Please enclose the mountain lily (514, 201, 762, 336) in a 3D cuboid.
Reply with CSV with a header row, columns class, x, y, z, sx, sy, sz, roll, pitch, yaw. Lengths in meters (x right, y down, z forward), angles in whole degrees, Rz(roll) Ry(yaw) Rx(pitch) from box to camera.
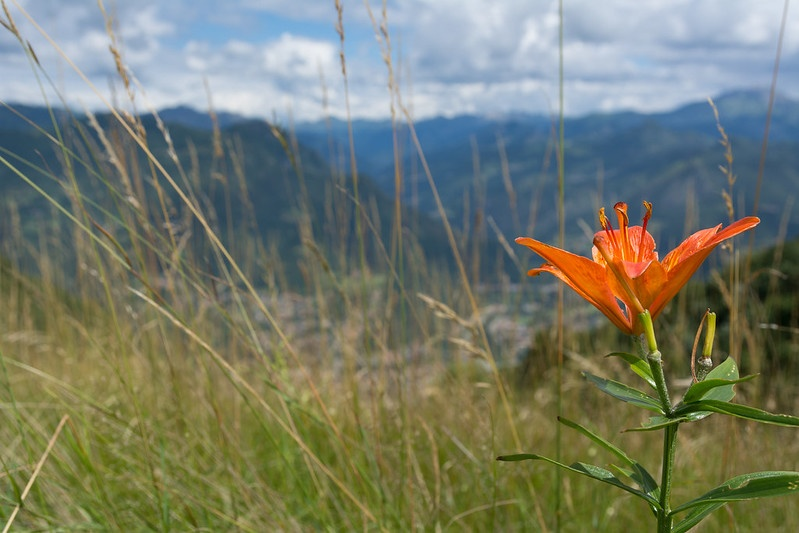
class,x,y,z,sx,sy,sz,roll,pitch,yaw
mountain lily,0.783,0.011,2.334,0.771,0.447,0.308,-7,10,-9
